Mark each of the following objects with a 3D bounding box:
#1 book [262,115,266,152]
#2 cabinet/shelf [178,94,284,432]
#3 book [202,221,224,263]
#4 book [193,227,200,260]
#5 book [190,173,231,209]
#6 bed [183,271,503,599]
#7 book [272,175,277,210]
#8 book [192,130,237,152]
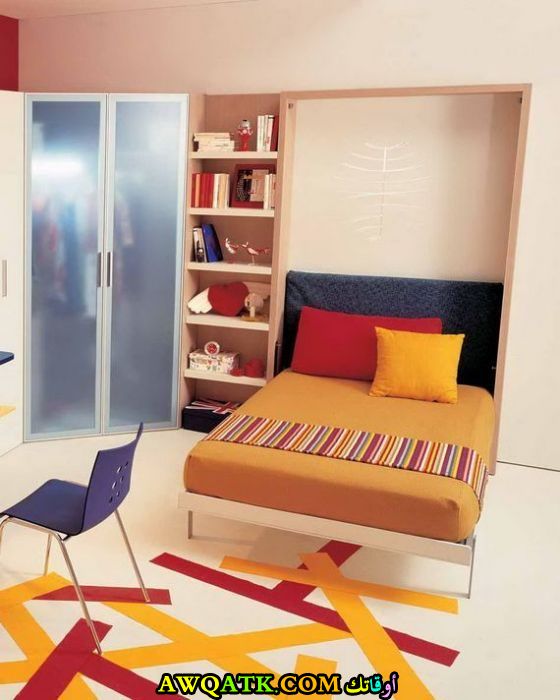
[{"bbox_3d":[-0.104,-1.325,3.534,0.020,0.192,0.027,5,10,10],"label":"book"},{"bbox_3d":[-0.322,-0.658,3.841,0.497,1.555,0.233,4,27,-2],"label":"cabinet/shelf"},{"bbox_3d":[-0.456,-0.714,3.861,0.097,0.245,0.231,6,10,15],"label":"book"},{"bbox_3d":[-0.548,-0.685,3.763,0.049,0.211,0.076,2,10,-8],"label":"book"},{"bbox_3d":[-0.451,-1.003,3.780,0.225,0.281,0.296,2,8,6],"label":"book"},{"bbox_3d":[0.429,0.260,2.872,1.282,0.919,1.688,7,19,15],"label":"bed"},{"bbox_3d":[-0.046,-0.971,3.559,0.028,0.209,0.060,2,10,-9],"label":"book"},{"bbox_3d":[-0.419,-1.308,3.628,0.266,0.148,0.172,4,10,7],"label":"book"}]
